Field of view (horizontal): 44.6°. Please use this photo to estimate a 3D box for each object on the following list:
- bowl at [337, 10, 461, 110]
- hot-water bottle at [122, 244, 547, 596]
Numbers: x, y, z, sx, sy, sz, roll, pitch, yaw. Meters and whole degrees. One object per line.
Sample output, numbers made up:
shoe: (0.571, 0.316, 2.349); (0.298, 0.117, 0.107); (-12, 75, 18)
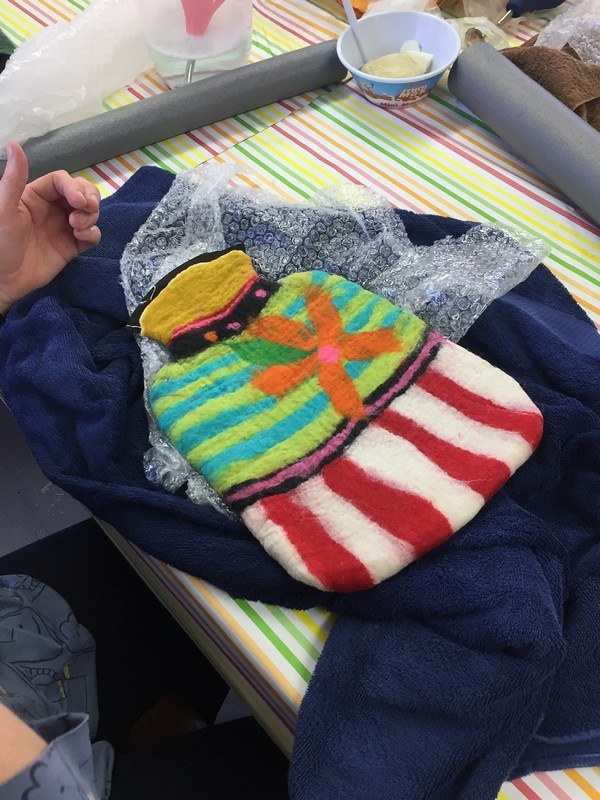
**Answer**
bowl: (0.146, -0.518, 1.156); (0.171, 0.068, 0.168); (-2, 57, 2)
hot-water bottle: (0.035, 0.004, 0.741); (0.361, 0.059, 0.248); (18, 63, 34)
